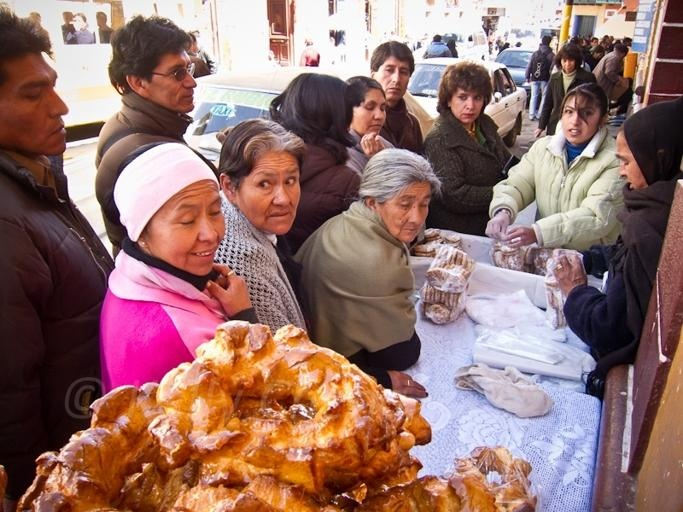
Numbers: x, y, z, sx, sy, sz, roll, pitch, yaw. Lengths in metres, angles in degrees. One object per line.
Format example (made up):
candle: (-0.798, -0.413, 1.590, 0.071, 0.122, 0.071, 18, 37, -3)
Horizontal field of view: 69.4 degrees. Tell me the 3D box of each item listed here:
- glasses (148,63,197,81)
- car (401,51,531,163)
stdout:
glasses: (-0.947, -1.013, 2.724, 0.205, 0.071, 0.206, 4, 23, 15)
car: (2.182, -2.742, 8.659, 1.965, 1.468, 3.357, 11, 27, 28)
